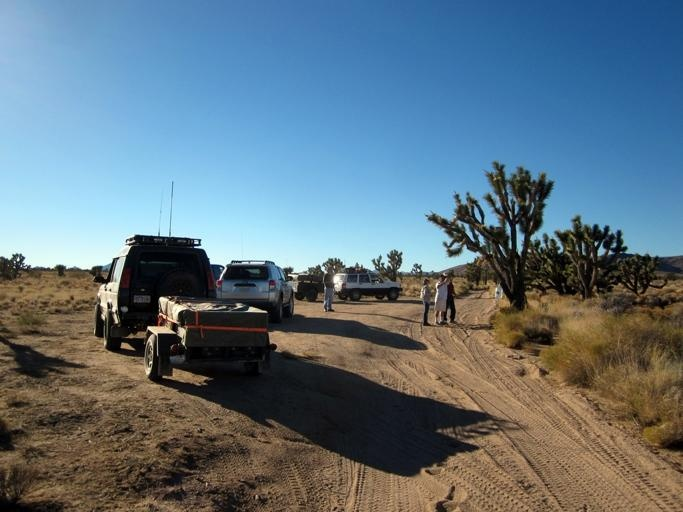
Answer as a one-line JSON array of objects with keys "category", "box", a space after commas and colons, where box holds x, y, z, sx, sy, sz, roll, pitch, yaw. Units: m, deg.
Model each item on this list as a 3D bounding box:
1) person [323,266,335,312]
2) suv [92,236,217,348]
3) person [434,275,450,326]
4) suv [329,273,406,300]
[{"category": "person", "box": [-0.579, 1.499, 20.378, 0.372, 1.886, 1.329, 3, 0, -3]}, {"category": "suv", "box": [-4.451, 0.849, 10.204, 3.067, 2.447, 1.614, 4, 0, 31]}, {"category": "person", "box": [3.661, 1.553, 16.865, 0.418, 1.792, 1.356, 3, 0, 14]}, {"category": "suv", "box": [1.486, 1.933, 30.842, 3.540, 1.822, 2.096, -2, 2, -20]}]
